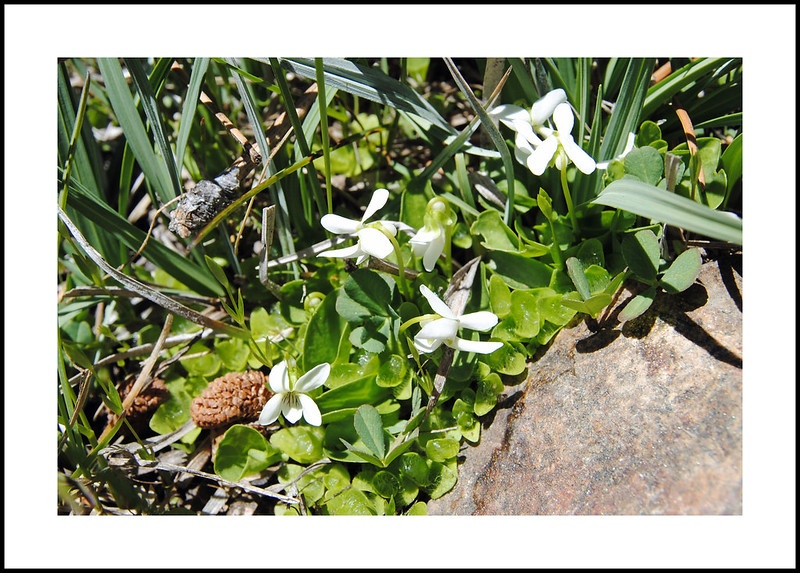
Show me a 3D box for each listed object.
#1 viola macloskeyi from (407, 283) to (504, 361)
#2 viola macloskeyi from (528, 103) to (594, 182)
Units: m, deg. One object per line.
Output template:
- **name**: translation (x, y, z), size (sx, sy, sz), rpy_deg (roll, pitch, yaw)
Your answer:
- **viola macloskeyi**: translation (0.179, 0.127, 2.260), size (0.225, 0.156, 0.248), rpy_deg (-10, -5, 27)
- **viola macloskeyi**: translation (0.547, -0.480, 2.399), size (0.210, 0.261, 0.306), rpy_deg (-11, 26, 12)
